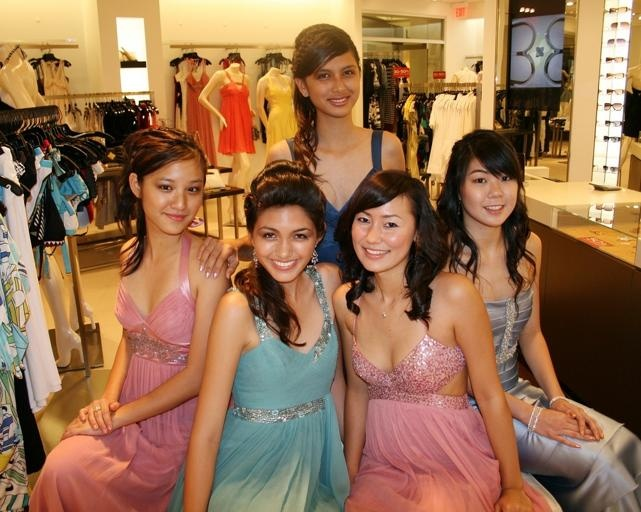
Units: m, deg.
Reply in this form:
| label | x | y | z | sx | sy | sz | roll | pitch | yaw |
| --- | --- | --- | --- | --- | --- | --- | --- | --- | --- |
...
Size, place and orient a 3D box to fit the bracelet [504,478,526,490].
| label | x | y | z | sx | sy | sz | roll | pitch | yaw |
| --- | --- | --- | --- | --- | --- | --- | --- | --- | --- |
| bracelet | 0.683 | 0.817 | 1.601 | 0.038 | 0.021 | 0.049 | -1 | -16 | 7 |

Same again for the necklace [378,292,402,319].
| label | x | y | z | sx | sy | sz | roll | pitch | yaw |
| --- | --- | --- | --- | --- | --- | --- | --- | --- | --- |
| necklace | 0.262 | 0.185 | 1.719 | 0.055 | 0.093 | 0.028 | 7 | -11 | 18 |

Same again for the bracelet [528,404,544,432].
| label | x | y | z | sx | sy | sz | roll | pitch | yaw |
| --- | --- | --- | --- | --- | --- | --- | --- | --- | --- |
| bracelet | 0.869 | 0.663 | 1.856 | 0.020 | 0.084 | 0.075 | 18 | 11 | 22 |

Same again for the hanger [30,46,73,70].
| label | x | y | z | sx | sy | sz | roll | pitch | yaw |
| --- | --- | --- | --- | --- | --- | --- | --- | --- | --- |
| hanger | -3.945 | -2.899 | 6.602 | 0.528 | 0.313 | 0.389 | -12 | 16 | -28 |

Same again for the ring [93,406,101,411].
| label | x | y | z | sx | sy | sz | roll | pitch | yaw |
| --- | --- | --- | --- | --- | --- | --- | --- | --- | --- |
| ring | -0.861 | 0.587 | 1.733 | 0.017 | 0.010 | 0.026 | -2 | 14 | 8 |
